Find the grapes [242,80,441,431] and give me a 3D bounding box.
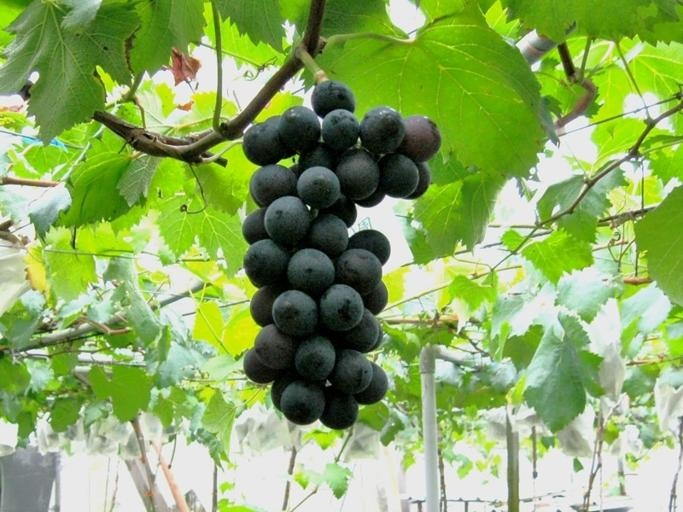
[{"bbox_3d":[-0.017,-0.014,2.717,0.658,0.995,0.433,8,-15,-23],"label":"grapes"}]
